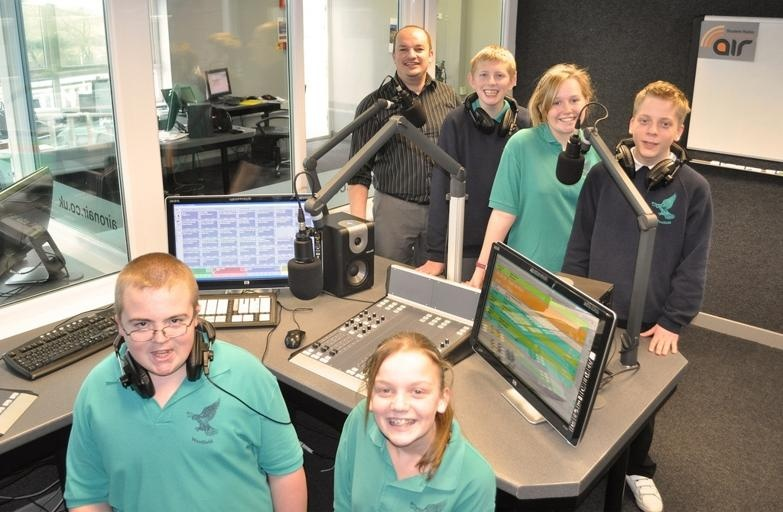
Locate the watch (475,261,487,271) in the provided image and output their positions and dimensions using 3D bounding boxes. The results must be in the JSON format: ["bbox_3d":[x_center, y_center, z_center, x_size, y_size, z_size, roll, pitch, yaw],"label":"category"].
[{"bbox_3d":[0.511,0.053,3.400,0.049,0.052,0.050,15,0,-6],"label":"watch"}]

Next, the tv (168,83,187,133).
[{"bbox_3d":[-1.328,-0.910,3.690,0.013,0.242,0.136,12,24,30],"label":"tv"}]

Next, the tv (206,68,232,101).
[{"bbox_3d":[-1.116,-1.111,3.866,0.156,0.171,0.096,-23,42,-34],"label":"tv"}]

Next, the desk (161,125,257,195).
[{"bbox_3d":[-1.169,-0.598,3.852,0.442,0.262,0.409,-21,30,-40],"label":"desk"}]

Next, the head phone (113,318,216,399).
[{"bbox_3d":[-0.822,0.376,2.162,0.282,0.105,0.302,-17,37,-25],"label":"head phone"}]

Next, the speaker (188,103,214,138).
[{"bbox_3d":[-1.229,-0.876,3.852,0.167,0.222,0.115,-13,35,-27],"label":"speaker"}]

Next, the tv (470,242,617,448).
[{"bbox_3d":[0.630,0.401,2.498,0.247,0.535,0.626,-23,44,-23],"label":"tv"}]
